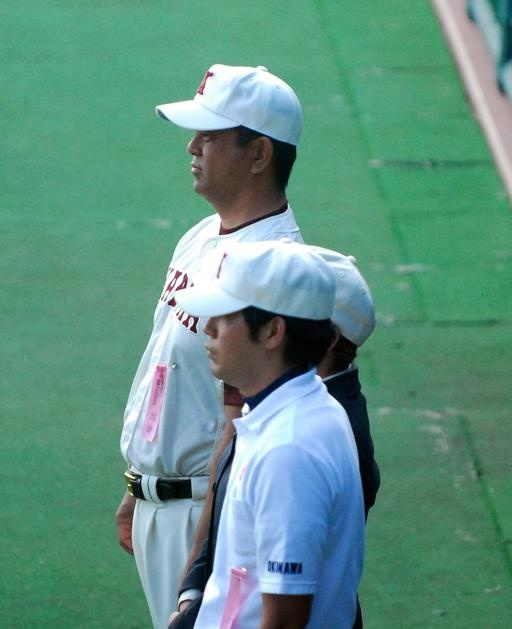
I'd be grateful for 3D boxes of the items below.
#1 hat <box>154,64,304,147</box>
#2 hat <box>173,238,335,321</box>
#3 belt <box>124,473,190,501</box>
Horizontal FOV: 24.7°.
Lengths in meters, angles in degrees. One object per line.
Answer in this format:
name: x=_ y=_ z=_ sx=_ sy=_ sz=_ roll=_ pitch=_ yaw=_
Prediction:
hat: x=-0.065 y=-0.515 z=2.836 sx=0.382 sy=0.182 sz=0.253 roll=3 pitch=14 yaw=-11
hat: x=0.000 y=-0.073 z=2.252 sx=0.299 sy=0.131 sz=0.200 roll=0 pitch=18 yaw=-8
belt: x=-0.226 y=0.414 z=2.796 sx=0.092 sy=0.031 sz=0.091 roll=8 pitch=-6 yaw=-42
